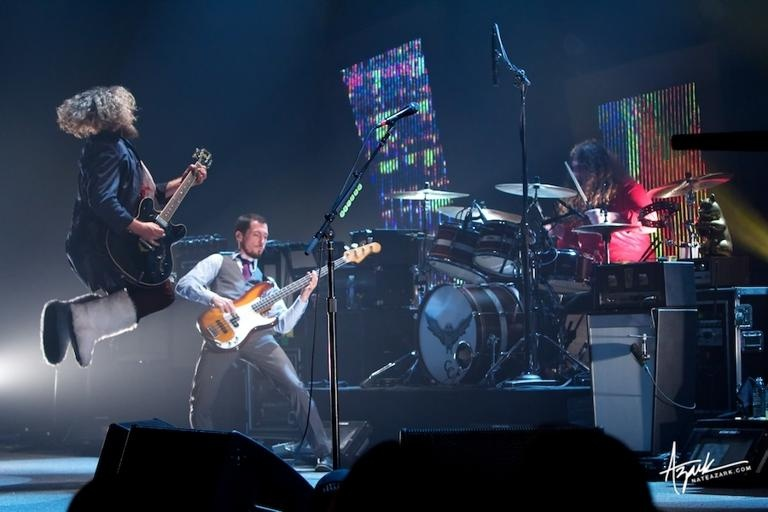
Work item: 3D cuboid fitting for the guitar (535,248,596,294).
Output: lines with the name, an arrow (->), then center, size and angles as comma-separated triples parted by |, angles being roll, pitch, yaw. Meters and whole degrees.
guitar -> 1.850, 0.162, 8.340 | 0.562, 0.375, 0.389 | 1, -19, -14

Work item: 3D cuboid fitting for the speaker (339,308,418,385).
speaker -> -0.062, 1.007, 8.735 | 0.961, 0.872, 0.530 | -1, -8, -8

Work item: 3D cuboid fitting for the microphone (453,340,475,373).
microphone -> 0.828, 1.008, 8.051 | 0.081, 0.298, 0.283 | 3, -8, -31

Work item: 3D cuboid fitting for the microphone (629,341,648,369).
microphone -> 2.207, 0.848, 6.825 | 0.140, 0.195, 0.057 | -19, -4, -45

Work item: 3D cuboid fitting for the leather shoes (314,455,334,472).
leather shoes -> -0.577, 1.948, 7.434 | 0.151, 0.126, 0.425 | 0, -7, -7

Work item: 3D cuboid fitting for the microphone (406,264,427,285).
microphone -> 0.346, 0.194, 8.611 | 0.227, 0.223, 0.174 | 0, 1, 0

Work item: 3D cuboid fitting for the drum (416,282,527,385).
drum -> 0.896, 0.699, 8.576 | 0.952, 1.349, 1.279 | -3, 1, -39

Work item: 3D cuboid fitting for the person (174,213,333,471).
person -> -1.263, 0.872, 7.538 | 1.333, 2.677, 1.114 | 25, -59, -39

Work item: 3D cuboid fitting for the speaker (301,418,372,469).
speaker -> -0.394, 1.771, 7.616 | 0.506, 0.501, 0.197 | -3, -21, 42

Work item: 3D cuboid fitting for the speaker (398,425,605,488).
speaker -> 0.539, 1.117, 4.439 | 0.900, 0.291, 0.106 | -2, -7, 6

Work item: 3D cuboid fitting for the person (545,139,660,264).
person -> 2.415, -0.596, 8.602 | 0.820, 1.328, 0.884 | 7, -24, -11

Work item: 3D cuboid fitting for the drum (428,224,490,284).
drum -> 0.781, -0.080, 8.682 | 0.664, 0.450, 0.676 | 17, -4, 1

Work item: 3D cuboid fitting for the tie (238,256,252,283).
tie -> -1.392, 0.115, 7.951 | 0.054, 0.221, 0.158 | -10, -5, 17

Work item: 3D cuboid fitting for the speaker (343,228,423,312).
speaker -> 0.028, 0.178, 8.761 | 0.937, 0.922, 0.591 | 0, -12, -18

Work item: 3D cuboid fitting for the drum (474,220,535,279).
drum -> 1.246, -0.119, 8.403 | 0.560, 0.420, 0.577 | 15, -36, 11

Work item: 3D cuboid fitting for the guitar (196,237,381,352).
guitar -> -0.723, 0.298, 8.159 | 2.407, 0.695, 0.291 | -28, -11, -12

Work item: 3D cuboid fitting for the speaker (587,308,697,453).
speaker -> 2.320, 1.025, 7.130 | 0.764, 1.210, 0.716 | -9, 9, -37

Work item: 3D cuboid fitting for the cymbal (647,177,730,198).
cymbal -> 3.030, -0.708, 7.818 | 0.350, 0.080, 0.344 | -10, 0, -34

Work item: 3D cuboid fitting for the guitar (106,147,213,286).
guitar -> -2.281, -0.350, 8.216 | 0.558, 1.326, 0.184 | 36, -30, -17
